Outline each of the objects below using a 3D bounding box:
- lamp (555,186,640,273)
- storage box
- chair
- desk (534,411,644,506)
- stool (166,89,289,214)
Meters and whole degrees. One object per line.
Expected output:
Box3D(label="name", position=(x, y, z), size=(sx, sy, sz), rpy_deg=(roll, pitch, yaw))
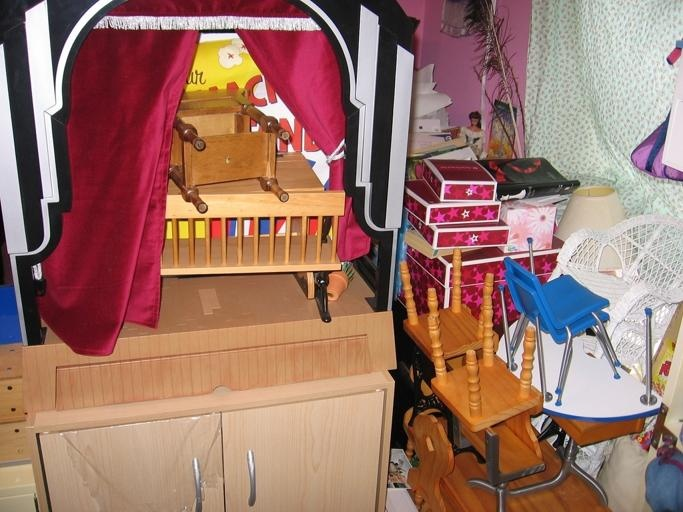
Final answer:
Box3D(label="lamp", position=(1.226, -0.199, 2.670), size=(0.375, 0.294, 0.341), rpy_deg=(-32, 29, -34))
Box3D(label="storage box", position=(0.639, 0.061, 2.966), size=(0.938, 0.811, 0.725), rpy_deg=(-2, 25, -1))
Box3D(label="chair", position=(0.719, 0.504, 2.317), size=(0.352, 0.792, 0.868), rpy_deg=(-5, 34, -8))
Box3D(label="desk", position=(1.036, 0.850, 2.327), size=(0.300, 0.343, 0.339), rpy_deg=(-11, 28, -17))
Box3D(label="stool", position=(-0.425, -0.384, 1.976), size=(0.379, 0.403, 0.492), rpy_deg=(-6, 16, -17))
